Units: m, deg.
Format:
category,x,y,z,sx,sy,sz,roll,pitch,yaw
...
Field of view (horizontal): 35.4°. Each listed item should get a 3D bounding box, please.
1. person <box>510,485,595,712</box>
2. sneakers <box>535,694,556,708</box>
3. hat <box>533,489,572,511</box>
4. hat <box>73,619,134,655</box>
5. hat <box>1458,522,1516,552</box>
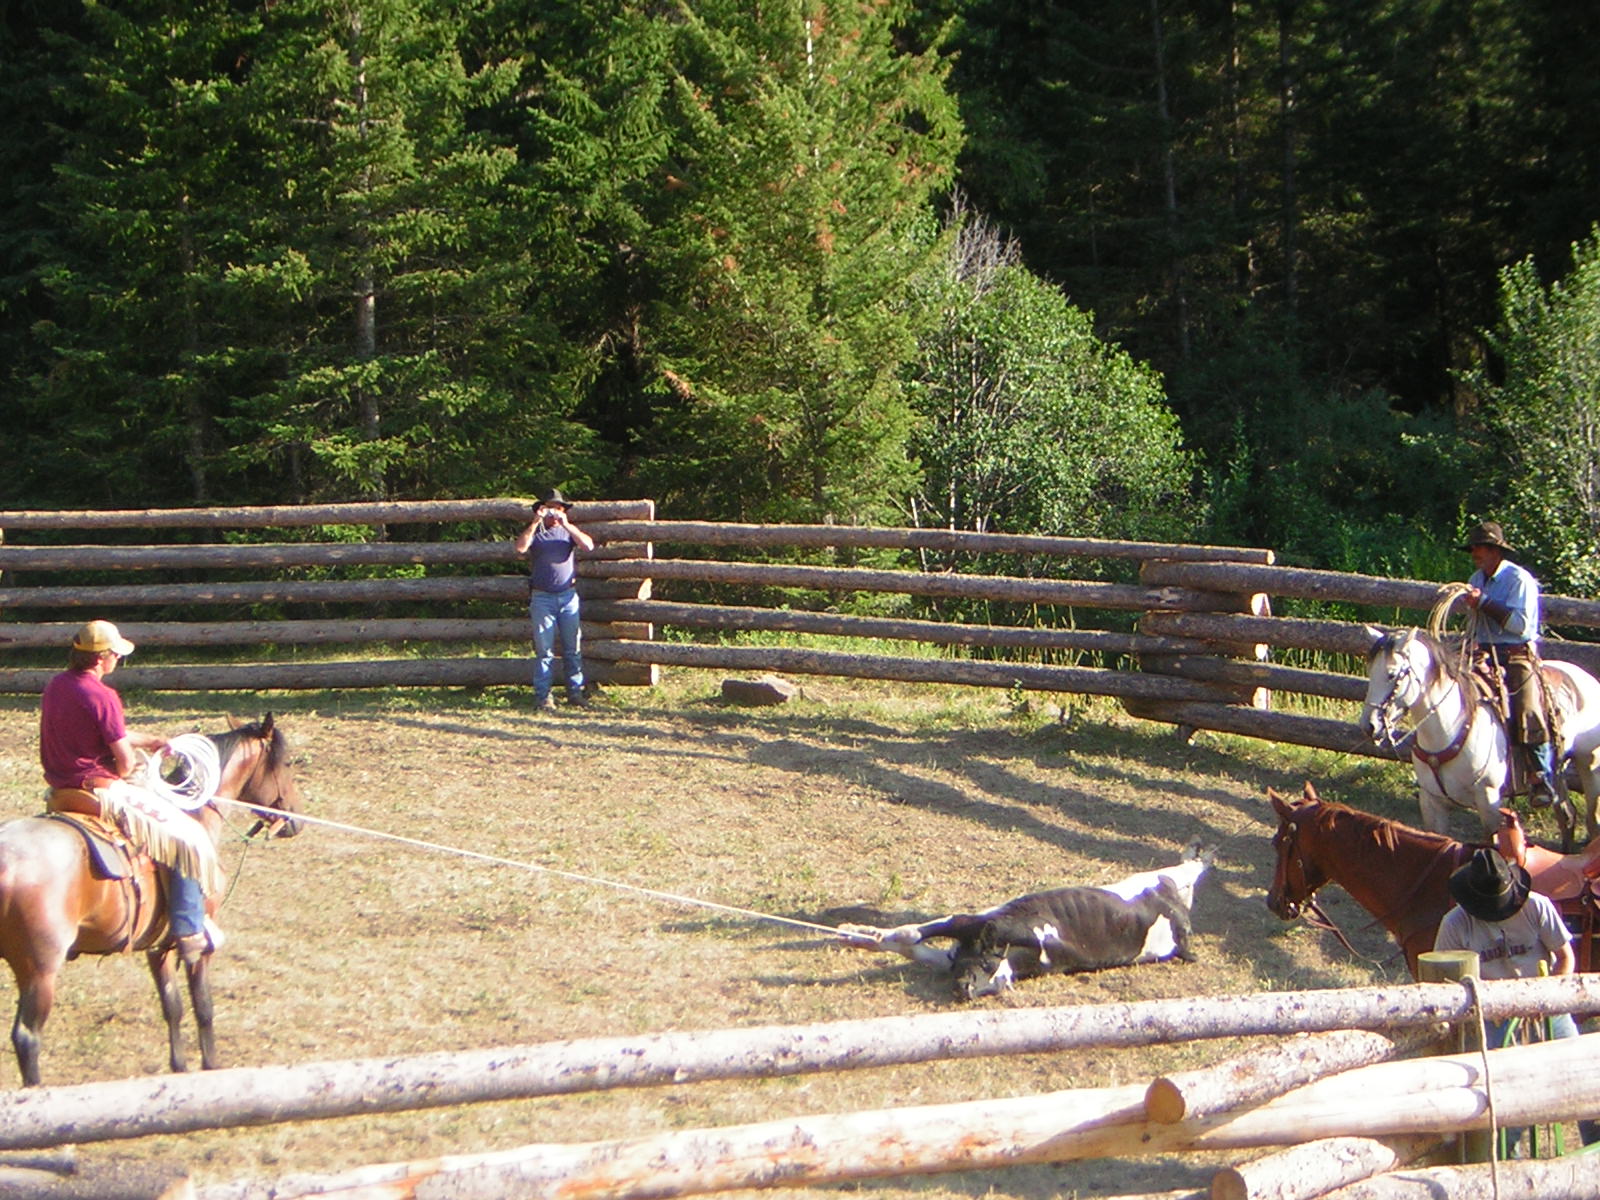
category,x,y,z,sx,sy,sz,roll,pitch,yaw
person,-3.264,-0.020,33.214,0.989,2.867,0.980,1,4,-6
sneakers,-3.379,1.360,33.126,0.296,0.178,0.220,1,11,0
hat,-3.305,-1.338,33.113,0.399,0.313,0.807,1,5,-8
hat,-7.357,0.450,26.524,0.425,0.329,0.577,18,11,36
hat,9.000,-0.832,32.596,0.381,0.206,0.386,18,-5,-14
